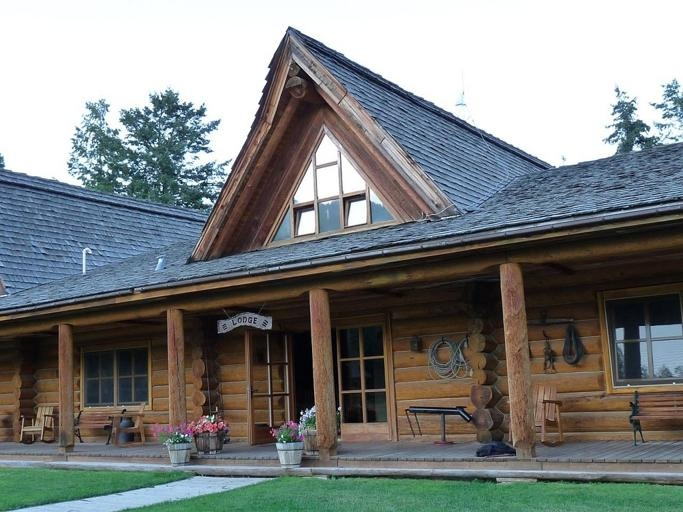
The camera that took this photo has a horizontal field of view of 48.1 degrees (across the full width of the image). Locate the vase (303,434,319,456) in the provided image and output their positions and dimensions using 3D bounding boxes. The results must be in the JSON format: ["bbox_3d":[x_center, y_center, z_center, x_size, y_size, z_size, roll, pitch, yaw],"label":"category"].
[{"bbox_3d":[-0.512,3.106,12.736,0.223,0.399,0.235,-3,-16,-6],"label":"vase"}]

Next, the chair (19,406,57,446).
[{"bbox_3d":[-7.317,4.033,18.509,0.752,0.895,1.233,8,-20,-38],"label":"chair"}]

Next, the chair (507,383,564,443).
[{"bbox_3d":[2.978,2.604,12.758,0.903,1.071,0.980,-13,-23,31],"label":"chair"}]

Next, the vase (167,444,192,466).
[{"bbox_3d":[-2.849,3.487,13.514,0.448,0.276,0.403,0,-15,-3],"label":"vase"}]

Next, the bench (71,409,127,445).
[{"bbox_3d":[-5.449,3.852,17.344,1.534,0.565,0.633,-5,-7,17],"label":"bench"}]

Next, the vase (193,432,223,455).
[{"bbox_3d":[-2.427,3.409,13.971,0.475,0.239,0.433,-8,-14,28],"label":"vase"}]

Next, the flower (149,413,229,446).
[{"bbox_3d":[-2.786,3.197,13.820,1.012,0.403,0.914,-6,-14,14],"label":"flower"}]

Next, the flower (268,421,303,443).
[{"bbox_3d":[-0.875,2.904,12.572,0.472,0.327,0.401,-4,-15,-1],"label":"flower"}]

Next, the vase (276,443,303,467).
[{"bbox_3d":[-0.822,3.223,12.446,0.414,0.401,0.353,-3,-16,-4],"label":"vase"}]
